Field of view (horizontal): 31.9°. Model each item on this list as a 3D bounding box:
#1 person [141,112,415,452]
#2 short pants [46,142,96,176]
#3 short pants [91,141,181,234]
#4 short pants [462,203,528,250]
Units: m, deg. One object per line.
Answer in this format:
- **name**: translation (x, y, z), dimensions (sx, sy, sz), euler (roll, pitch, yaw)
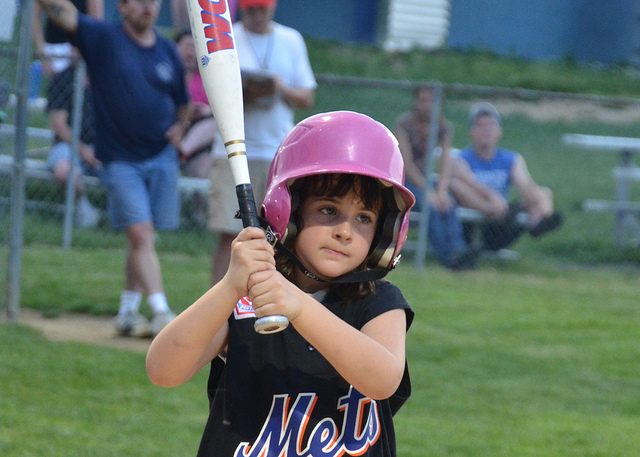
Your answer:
- **person**: translation (-0.079, 0.192, 3.759), dimensions (0.756, 1.169, 0.456), euler (5, 5, 15)
- **short pants**: translation (-0.917, -0.254, 4.155), dimensions (0.056, 0.113, 0.239), euler (6, 5, 26)
- **short pants**: translation (-0.716, -0.140, 4.781), dimensions (0.305, 0.447, 0.256), euler (4, -35, -1)
- **short pants**: translation (0.858, -0.003, 5.430), dimensions (0.258, 0.141, 0.363), euler (0, 1, 7)
